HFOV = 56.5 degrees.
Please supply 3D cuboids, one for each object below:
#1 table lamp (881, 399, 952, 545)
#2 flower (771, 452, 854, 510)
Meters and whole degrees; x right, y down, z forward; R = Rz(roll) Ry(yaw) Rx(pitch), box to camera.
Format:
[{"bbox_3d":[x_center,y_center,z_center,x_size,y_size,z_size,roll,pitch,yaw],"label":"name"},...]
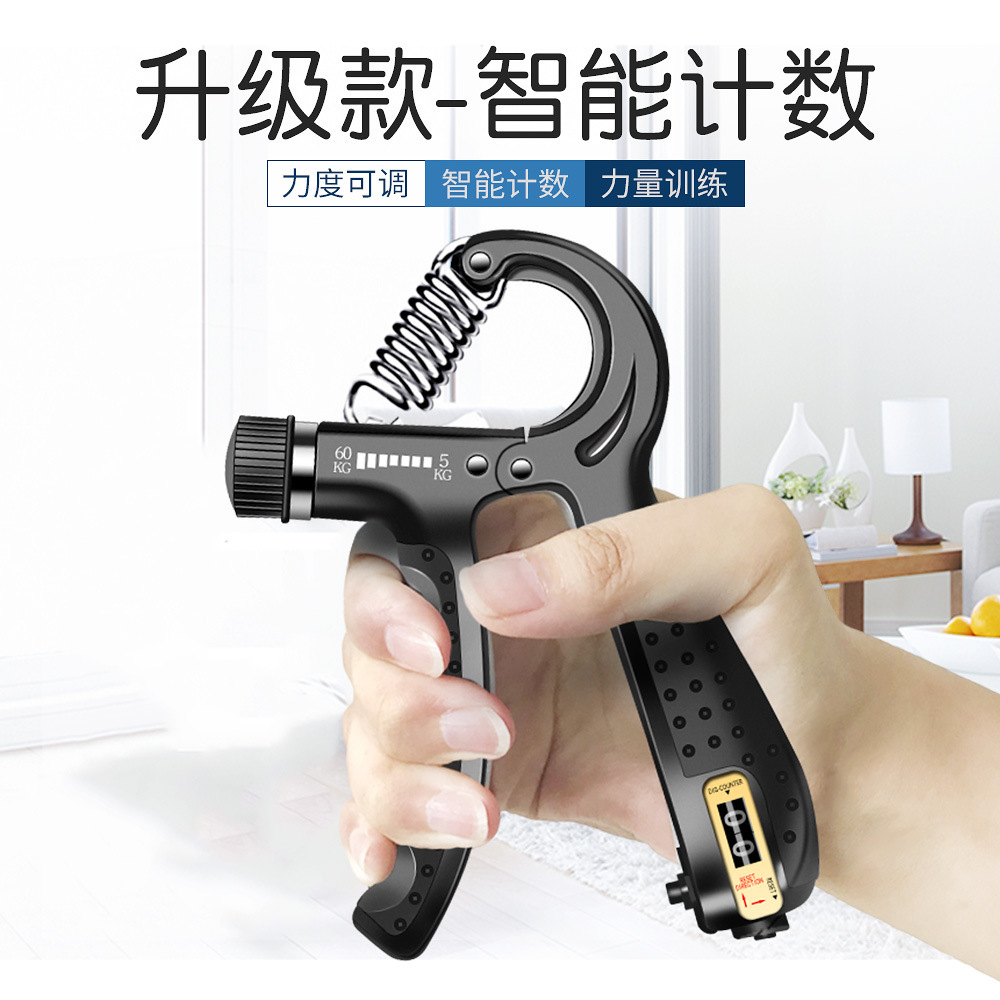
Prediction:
[{"bbox_3d":[1.261,-0.089,2.895,0.191,0.439,0.249,0,5,9],"label":"table lamp"},{"bbox_3d":[0.861,-0.047,2.559,0.168,0.083,0.238,30,20,37],"label":"flower"}]
